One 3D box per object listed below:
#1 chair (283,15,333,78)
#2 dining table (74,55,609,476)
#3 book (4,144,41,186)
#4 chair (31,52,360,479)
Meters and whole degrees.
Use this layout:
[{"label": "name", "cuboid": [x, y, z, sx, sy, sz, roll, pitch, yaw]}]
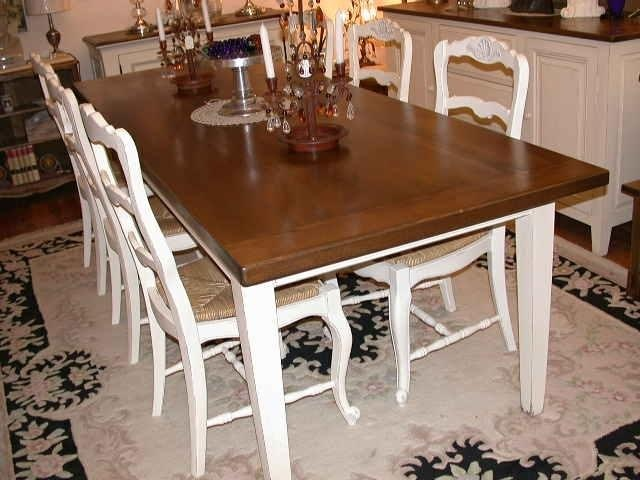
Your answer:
[{"label": "chair", "cuboid": [-0.052, -1.079, 2.920, 0.202, 0.310, 0.211, -25, 51, -23]}, {"label": "dining table", "cuboid": [0.013, 0.020, 2.223, 1.225, 0.992, 1.638, -16, 28, -21]}, {"label": "book", "cuboid": [-2.302, -0.586, 4.160, 0.267, 0.280, 0.075, -9, 7, -38]}, {"label": "chair", "cuboid": [-0.395, -0.257, 2.514, 1.357, 2.113, 1.112, -15, 34, -24]}]
